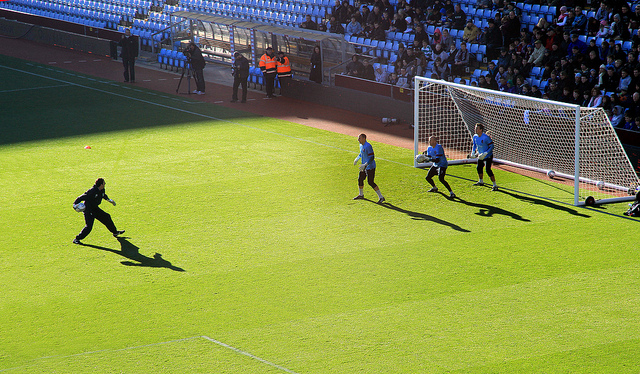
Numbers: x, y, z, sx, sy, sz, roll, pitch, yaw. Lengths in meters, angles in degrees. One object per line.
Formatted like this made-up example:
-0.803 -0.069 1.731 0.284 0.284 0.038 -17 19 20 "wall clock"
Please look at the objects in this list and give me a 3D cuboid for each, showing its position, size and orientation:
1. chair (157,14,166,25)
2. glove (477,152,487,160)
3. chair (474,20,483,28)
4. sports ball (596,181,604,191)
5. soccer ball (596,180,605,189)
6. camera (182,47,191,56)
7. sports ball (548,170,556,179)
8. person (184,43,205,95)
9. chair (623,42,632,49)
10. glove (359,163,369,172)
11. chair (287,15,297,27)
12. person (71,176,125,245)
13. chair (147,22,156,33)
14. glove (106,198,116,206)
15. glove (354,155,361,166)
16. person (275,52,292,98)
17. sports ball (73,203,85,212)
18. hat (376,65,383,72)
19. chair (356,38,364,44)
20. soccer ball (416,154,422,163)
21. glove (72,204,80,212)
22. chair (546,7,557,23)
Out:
-9.914 -10.424 52.533 0.476 0.564 0.855 5 12 -11 "chair"
5.734 -1.074 29.743 0.332 0.063 0.208 -22 -6 -18 "glove"
7.567 -7.742 40.137 0.391 0.334 0.740 8 11 5 "chair"
9.928 -0.053 29.749 0.274 0.150 0.270 -1 21 0 "sports ball"
9.936 -0.087 29.867 0.315 0.163 0.310 -5 10 1 "soccer ball"
-6.433 -6.527 40.888 0.530 0.348 0.133 4 -15 21 "camera"
8.528 -0.470 30.962 0.287 0.295 0.498 10 12 14 "sports ball"
-6.121 -5.744 41.130 1.198 2.453 0.960 6 15 -9 "person"
12.668 -5.753 34.474 0.204 0.256 0.375 1 12 -25 "chair"
1.443 -0.677 29.136 0.228 0.339 0.296 -3 17 -38 "glove"
-1.606 -9.462 48.041 0.510 0.590 0.745 7 12 -3 "chair"
-7.135 0.782 26.856 1.425 2.161 0.524 5 15 -13 "person"
-10.444 -9.807 52.088 0.469 0.562 0.541 22 11 36 "chair"
-6.730 0.444 27.068 0.182 0.131 0.469 -37 24 -5 "glove"
1.207 -0.897 28.999 0.181 0.099 0.419 -32 -9 -30 "glove"
-1.816 -5.408 40.899 0.911 2.142 0.503 4 16 -20 "person"
-7.614 0.643 26.558 0.245 0.301 0.270 17 16 36 "sports ball"
2.756 -5.470 38.878 0.315 0.258 0.534 7 11 2 "hat"
1.992 -7.126 41.264 0.504 0.232 0.414 -1 1 17 "chair"
3.567 -1.023 30.597 0.307 0.273 0.289 6 -33 4 "soccer ball"
-7.694 0.657 26.554 0.189 0.265 0.240 4 13 -14 "glove"
10.551 -7.780 38.273 0.382 0.669 0.520 5 13 -11 "chair"
